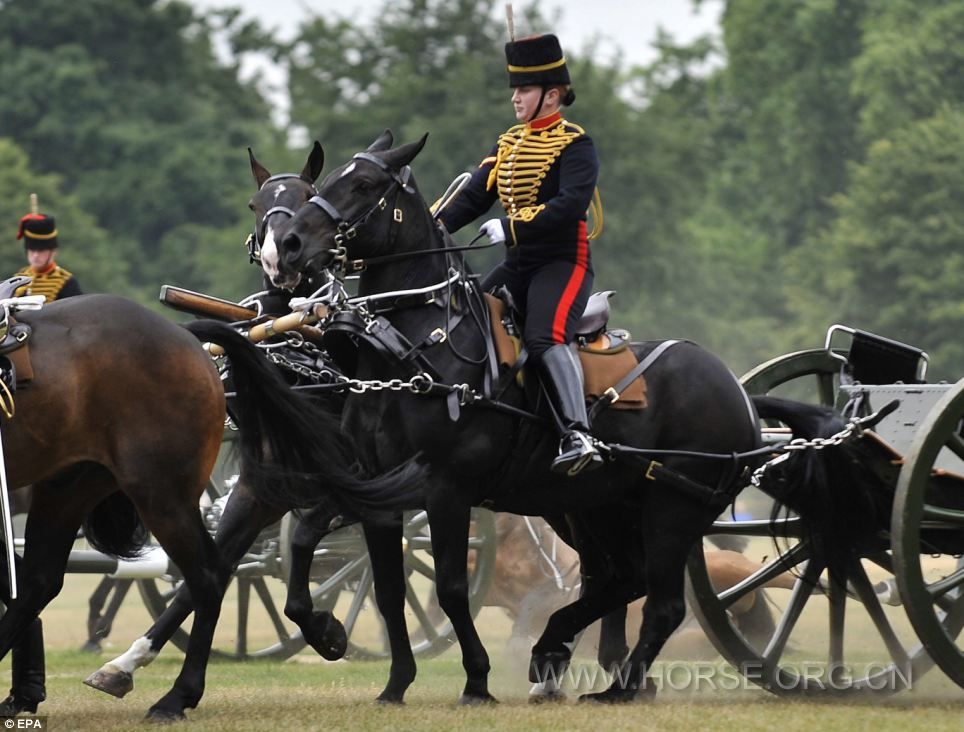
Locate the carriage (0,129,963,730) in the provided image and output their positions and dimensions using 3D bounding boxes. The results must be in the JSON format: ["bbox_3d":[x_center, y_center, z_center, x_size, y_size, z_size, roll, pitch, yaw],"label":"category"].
[{"bbox_3d":[-0.069,0.597,16.739,6.452,3.091,3.643,5,-10,-26],"label":"carriage"}]

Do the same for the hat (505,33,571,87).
[{"bbox_3d":[0.348,-2.094,16.025,0.494,0.302,0.444,-10,13,-36],"label":"hat"}]

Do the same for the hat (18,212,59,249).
[{"bbox_3d":[-3.341,-1.001,17.474,0.259,0.214,0.309,3,-4,-3],"label":"hat"}]

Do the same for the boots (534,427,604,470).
[{"bbox_3d":[0.633,0.603,15.688,0.477,0.299,0.161,-24,-46,29],"label":"boots"}]

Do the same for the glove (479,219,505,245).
[{"bbox_3d":[0.061,-0.909,15.712,0.174,0.209,0.301,1,-4,0],"label":"glove"}]
